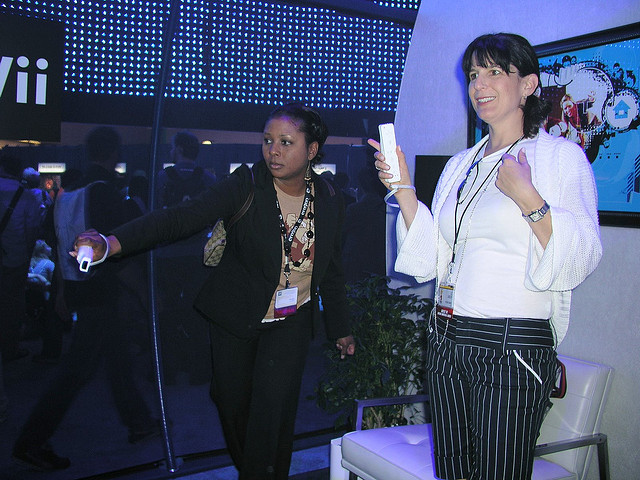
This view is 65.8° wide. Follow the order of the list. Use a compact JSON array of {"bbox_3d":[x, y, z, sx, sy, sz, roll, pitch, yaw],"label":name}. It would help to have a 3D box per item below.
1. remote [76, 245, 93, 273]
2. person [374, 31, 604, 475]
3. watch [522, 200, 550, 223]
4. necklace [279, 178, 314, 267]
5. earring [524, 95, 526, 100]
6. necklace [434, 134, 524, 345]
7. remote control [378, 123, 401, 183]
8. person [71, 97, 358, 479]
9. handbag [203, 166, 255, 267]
[{"bbox_3d":[-0.892,0.074,1.871,0.057,0.090,0.125,0,9,-26],"label":"remote"},{"bbox_3d":[0.658,0.099,1.929,0.742,1.759,0.327,9,9,37],"label":"person"},{"bbox_3d":[0.731,-0.087,1.682,0.068,0.027,0.071,-30,-8,-11],"label":"watch"},{"bbox_3d":[-0.114,-0.030,2.779,0.190,0.065,0.561,8,36,-6],"label":"necklace"},{"bbox_3d":[0.784,-0.545,1.892,0.004,0.015,0.014,12,-12,5],"label":"earring"},{"bbox_3d":[0.636,-0.047,2.009,0.026,0.953,0.260,12,1,-42],"label":"necklace"},{"bbox_3d":[0.274,-0.355,2.017,0.084,0.240,0.128,1,8,-16],"label":"remote control"},{"bbox_3d":[-0.416,0.312,2.617,1.217,2.106,0.360,-2,9,-35],"label":"person"},{"bbox_3d":[-0.428,-0.085,2.667,0.173,0.497,0.279,17,15,-35],"label":"handbag"}]
